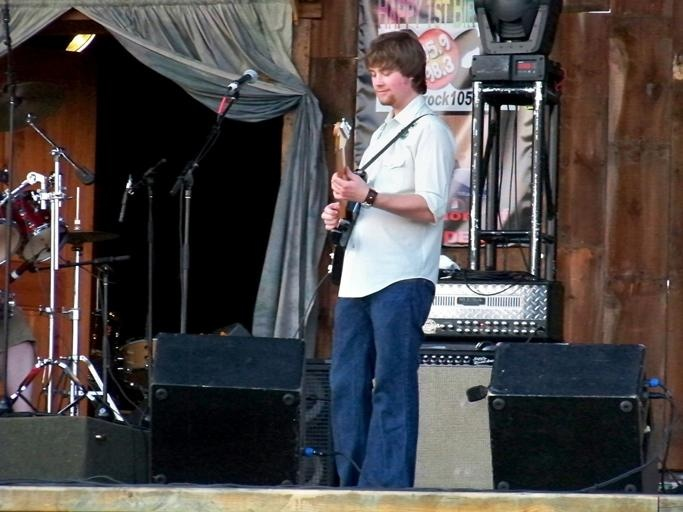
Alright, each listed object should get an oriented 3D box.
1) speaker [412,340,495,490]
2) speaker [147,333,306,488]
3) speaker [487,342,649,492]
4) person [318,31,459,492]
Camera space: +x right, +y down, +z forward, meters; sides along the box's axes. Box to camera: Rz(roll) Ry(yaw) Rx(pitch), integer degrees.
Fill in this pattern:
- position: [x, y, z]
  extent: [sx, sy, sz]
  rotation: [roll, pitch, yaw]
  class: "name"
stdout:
- position: [0.667, 0.890, 10.766]
  extent: [0.505, 0.693, 0.426]
  rotation: [0, 5, 8]
  class: "speaker"
- position: [-0.630, 0.777, 10.376]
  extent: [0.823, 0.783, 0.712]
  rotation: [0, 3, -26]
  class: "speaker"
- position: [1.197, 0.839, 10.447]
  extent: [0.928, 0.704, 0.812]
  rotation: [0, 3, 10]
  class: "speaker"
- position: [0.230, 0.001, 10.366]
  extent: [0.681, 2.448, 0.392]
  rotation: [2, -5, 5]
  class: "person"
